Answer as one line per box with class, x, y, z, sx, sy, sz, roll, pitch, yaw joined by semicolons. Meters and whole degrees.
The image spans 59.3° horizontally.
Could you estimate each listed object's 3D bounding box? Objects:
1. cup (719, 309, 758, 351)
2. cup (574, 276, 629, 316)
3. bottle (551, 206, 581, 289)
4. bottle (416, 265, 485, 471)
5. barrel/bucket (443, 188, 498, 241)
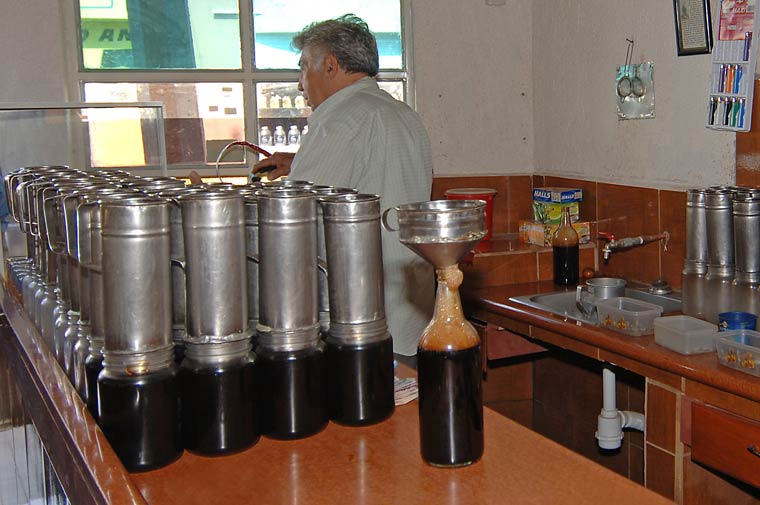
cup;1.162;0.254;2.204;0.116;0.084;0.100;10;18;40
cup;0.920;0.165;2.816;0.224;0.140;0.135;-22;25;-39
bottle;0.857;-0.028;3.098;0.118;0.348;0.191;-1;11;13
bottle;0.131;0.222;1.297;0.118;0.391;0.068;-3;11;0
barrel/bucket;0.465;-0.206;3.353;0.288;0.267;0.283;-1;4;0
